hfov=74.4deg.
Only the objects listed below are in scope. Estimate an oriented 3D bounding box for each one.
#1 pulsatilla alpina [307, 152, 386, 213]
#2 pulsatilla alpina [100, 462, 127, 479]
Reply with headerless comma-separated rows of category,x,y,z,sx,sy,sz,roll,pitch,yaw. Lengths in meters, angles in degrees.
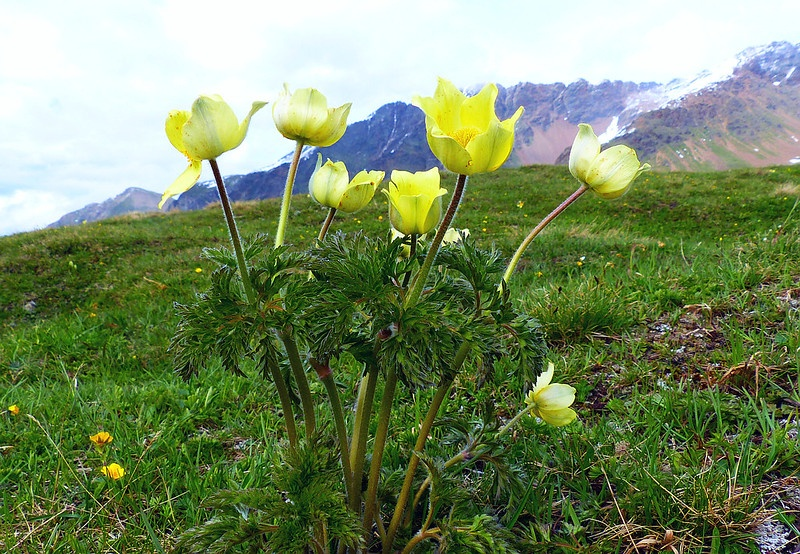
pulsatilla alpina,-0.300,-0.515,3.025,0.354,0.248,0.339,12,0,4
pulsatilla alpina,-1.855,1.254,3.399,0.131,0.062,0.134,2,13,19
